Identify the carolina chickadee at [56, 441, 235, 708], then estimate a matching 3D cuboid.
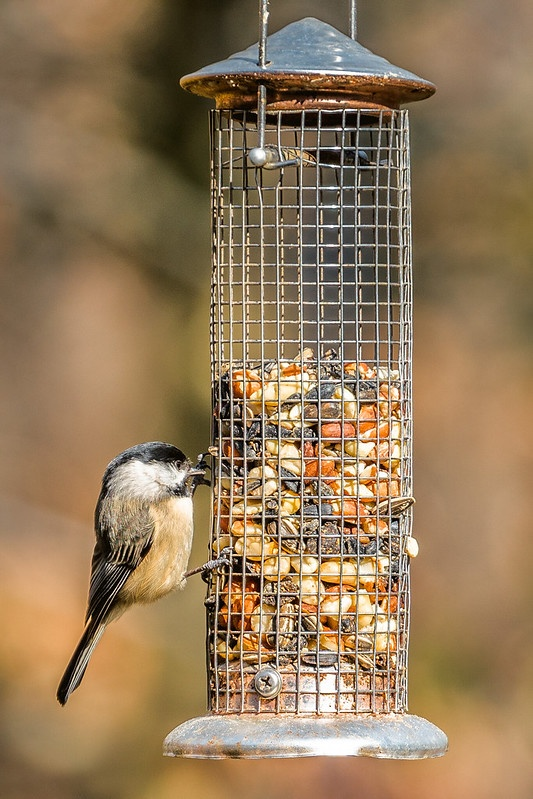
[{"bbox_3d":[-0.470,0.592,6.288,0.542,0.301,0.968,-1,96,-3],"label":"carolina chickadee"}]
